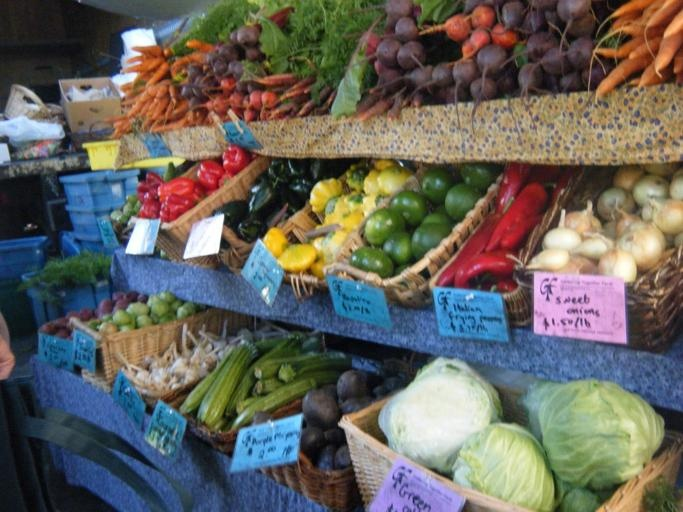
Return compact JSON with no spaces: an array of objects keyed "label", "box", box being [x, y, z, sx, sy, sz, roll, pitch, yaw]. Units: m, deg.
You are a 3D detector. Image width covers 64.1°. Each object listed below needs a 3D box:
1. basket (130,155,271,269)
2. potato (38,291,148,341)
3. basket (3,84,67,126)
[{"label":"basket","box":[-0.688,-0.247,2.886,0.622,0.542,0.394,9,26,32]},{"label":"potato","box":[-1.655,0.382,3.734,0.469,0.400,0.523,-1,15,22]},{"label":"basket","box":[-4.275,-2.052,7.546,0.942,0.452,0.753,15,5,24]}]
